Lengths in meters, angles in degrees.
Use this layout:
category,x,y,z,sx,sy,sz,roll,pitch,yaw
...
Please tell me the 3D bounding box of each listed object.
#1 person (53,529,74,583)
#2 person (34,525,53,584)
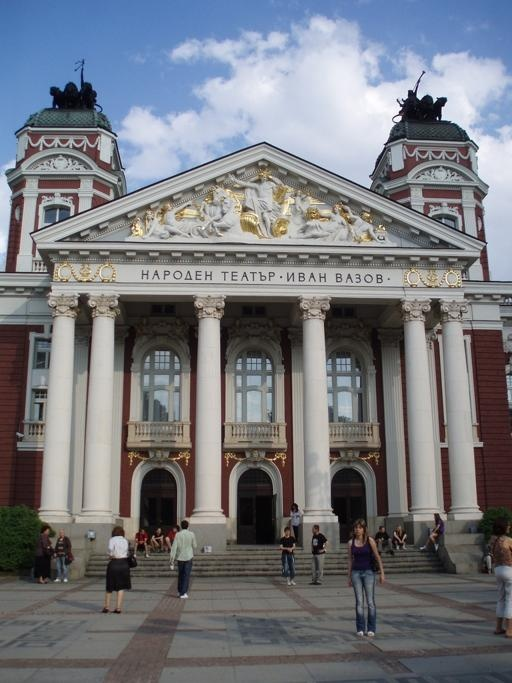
category,x,y,z,sx,sy,sz,roll,pitch,yaw
person,-6.150,6.810,20.586,0.558,1.550,1.492,2,-13,-16
person,-6.669,6.644,20.320,0.524,1.698,1.061,2,-14,-17
